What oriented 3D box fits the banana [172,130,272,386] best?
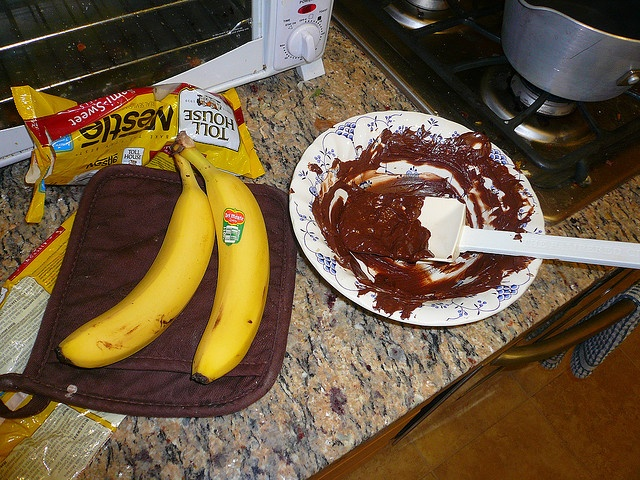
[{"bbox_3d":[-0.172,0.053,1.037,0.158,0.117,0.493,-3,76,-6],"label":"banana"}]
